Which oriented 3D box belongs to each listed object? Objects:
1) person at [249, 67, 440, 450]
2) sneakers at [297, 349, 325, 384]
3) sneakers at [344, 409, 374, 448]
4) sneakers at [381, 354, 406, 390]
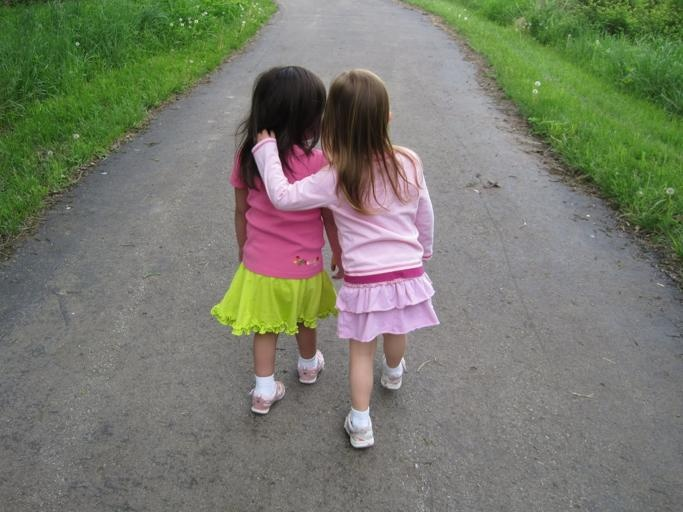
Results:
[{"bbox_3d":[0.147,-0.025,3.723,1.066,2.020,0.898,30,42,31],"label":"person"},{"bbox_3d":[-0.222,0.738,4.226,0.143,0.179,0.335,5,35,4],"label":"sneakers"},{"bbox_3d":[0.107,1.116,3.917,0.157,0.191,0.396,-3,9,-10],"label":"sneakers"},{"bbox_3d":[0.395,0.809,4.276,0.142,0.196,0.426,1,8,17],"label":"sneakers"}]
